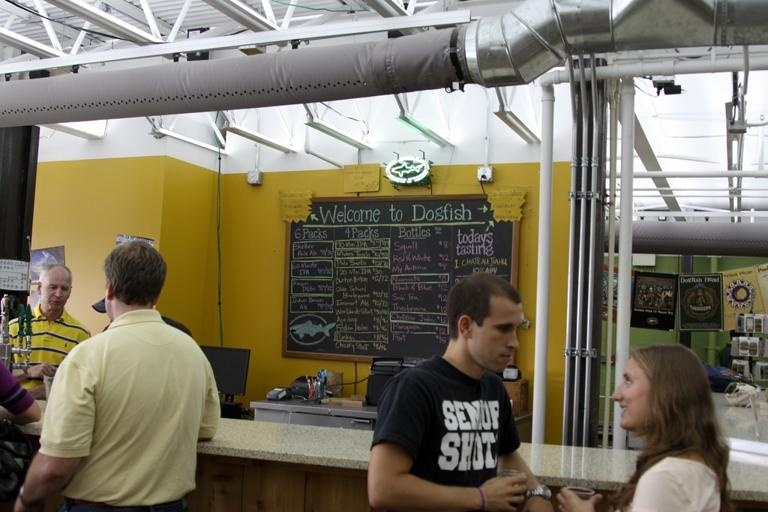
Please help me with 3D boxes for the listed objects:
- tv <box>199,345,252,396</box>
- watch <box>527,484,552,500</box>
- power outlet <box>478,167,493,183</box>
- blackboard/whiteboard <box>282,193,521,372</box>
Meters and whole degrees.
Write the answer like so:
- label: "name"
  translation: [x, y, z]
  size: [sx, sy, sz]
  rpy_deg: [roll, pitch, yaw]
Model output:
- label: "tv"
  translation: [-1.495, 1.067, 6.081]
  size: [0.651, 0.453, 0.212]
  rpy_deg: [7, -1, 14]
- label: "watch"
  translation: [0.633, 0.972, 2.622]
  size: [0.100, 0.068, 0.105]
  rpy_deg: [1, -27, -6]
- label: "power outlet"
  translation: [1.003, -0.803, 6.219]
  size: [0.143, 0.161, 0.083]
  rpy_deg: [-2, -11, 17]
- label: "blackboard/whiteboard"
  translation: [0.171, 0.225, 5.748]
  size: [1.893, 1.280, 0.073]
  rpy_deg: [-1, -5, 19]
